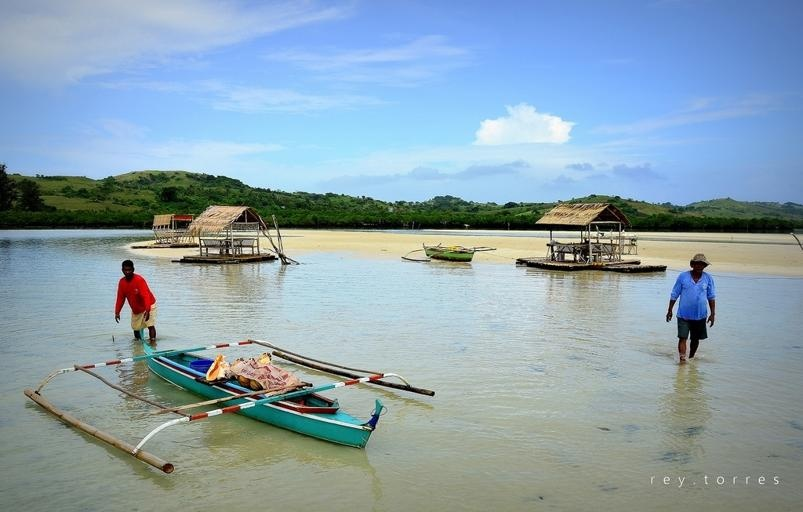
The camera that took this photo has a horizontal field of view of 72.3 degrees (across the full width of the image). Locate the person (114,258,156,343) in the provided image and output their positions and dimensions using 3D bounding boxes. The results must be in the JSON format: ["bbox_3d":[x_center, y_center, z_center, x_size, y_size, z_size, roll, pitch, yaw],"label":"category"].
[{"bbox_3d":[-7.367,1.257,15.444,0.922,2.392,1.144,-10,17,-38],"label":"person"}]

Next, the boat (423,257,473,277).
[{"bbox_3d":[3.039,0.745,34.090,3.955,0.735,1.023,4,-12,40],"label":"boat"}]

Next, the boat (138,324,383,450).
[{"bbox_3d":[-2.899,2.875,11.440,3.581,0.389,2.796,7,7,36],"label":"boat"}]
